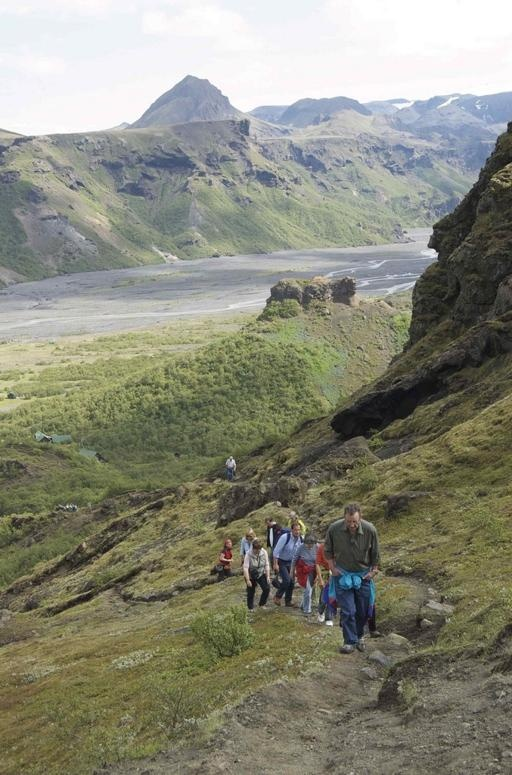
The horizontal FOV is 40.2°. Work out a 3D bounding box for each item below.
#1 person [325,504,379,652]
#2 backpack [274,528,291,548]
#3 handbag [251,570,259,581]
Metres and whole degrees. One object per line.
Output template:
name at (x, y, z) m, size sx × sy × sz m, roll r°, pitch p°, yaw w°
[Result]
person at (1.447, 2.869, 10.661) m, size 0.797 × 2.373 × 0.440 m, roll -1°, pitch 11°, yaw 4°
backpack at (0.535, 3.084, 14.558) m, size 0.289 × 0.360 × 0.403 m, roll 6°, pitch 15°, yaw 36°
handbag at (-0.020, 3.762, 13.957) m, size 0.157 × 0.198 × 0.054 m, roll -2°, pitch 0°, yaw 21°
